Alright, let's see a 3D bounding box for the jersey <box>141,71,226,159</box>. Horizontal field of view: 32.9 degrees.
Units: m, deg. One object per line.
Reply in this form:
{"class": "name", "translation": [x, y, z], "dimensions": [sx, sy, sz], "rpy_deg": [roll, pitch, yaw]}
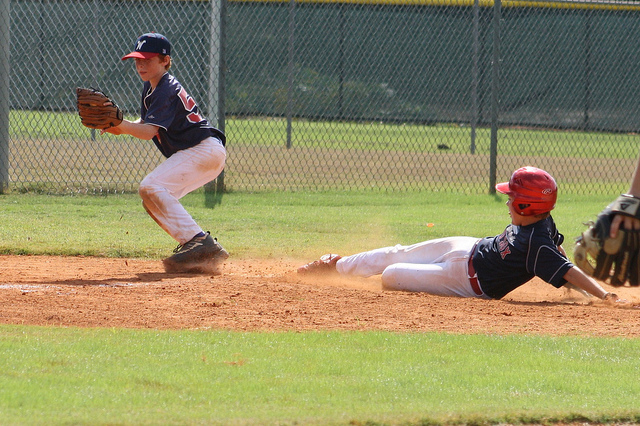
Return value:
{"class": "jersey", "translation": [-1.665, -1.289, 13.350], "dimensions": [0.956, 1.112, 0.937], "rpy_deg": [-5, 15, -11]}
